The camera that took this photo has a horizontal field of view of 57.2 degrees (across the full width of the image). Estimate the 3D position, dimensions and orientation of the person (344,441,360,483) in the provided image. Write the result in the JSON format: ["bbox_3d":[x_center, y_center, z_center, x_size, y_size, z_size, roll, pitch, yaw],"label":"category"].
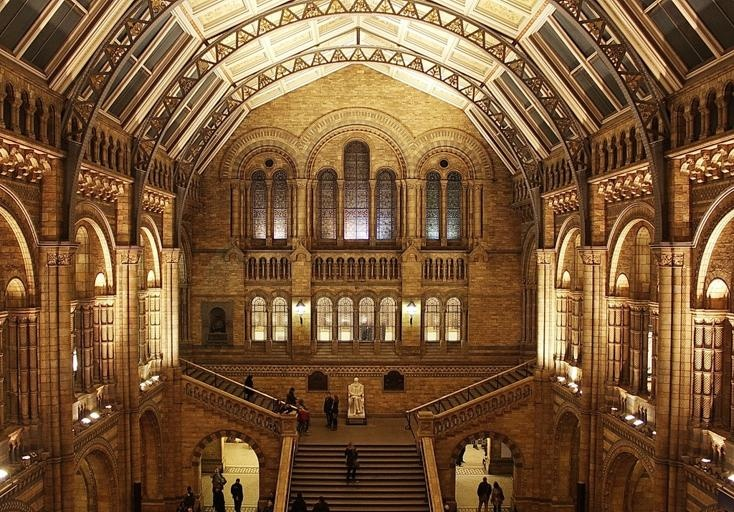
[{"bbox_3d":[-0.642,8.399,27.623,0.503,1.580,0.763,0,-6,-3],"label":"person"}]

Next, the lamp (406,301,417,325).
[{"bbox_3d":[2.321,2.949,35.163,0.628,1.265,0.397,0,-5,-3],"label":"lamp"}]

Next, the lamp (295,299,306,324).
[{"bbox_3d":[-3.468,2.909,35.124,0.487,1.261,0.270,1,-5,-7],"label":"lamp"}]

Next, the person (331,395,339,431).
[{"bbox_3d":[-1.552,7.387,31.809,0.308,1.394,0.610,0,-6,-3],"label":"person"}]

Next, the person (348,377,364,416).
[{"bbox_3d":[-0.533,6.855,32.619,0.765,1.884,0.642,1,-6,-10],"label":"person"}]
